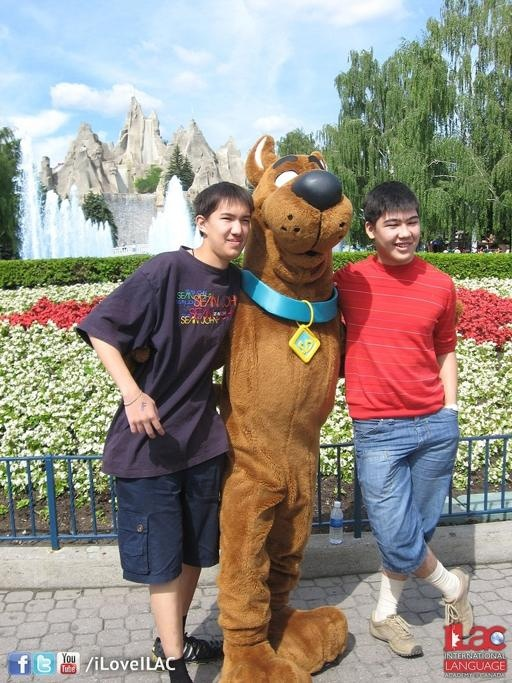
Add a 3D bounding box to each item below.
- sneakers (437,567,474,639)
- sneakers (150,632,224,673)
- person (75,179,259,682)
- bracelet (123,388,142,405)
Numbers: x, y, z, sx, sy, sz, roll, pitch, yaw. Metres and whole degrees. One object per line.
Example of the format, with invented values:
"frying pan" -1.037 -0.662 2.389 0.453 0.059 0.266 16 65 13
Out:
"sneakers" 0.869 1.111 2.730 0.110 0.290 0.131 -8 -7 39
"sneakers" -0.291 1.222 2.595 0.361 0.158 0.122 1 -1 -15
"person" -0.279 0.273 2.304 0.650 1.671 0.357 -5 7 -16
"bracelet" -0.409 0.183 2.112 0.049 0.013 0.050 -34 14 -4
